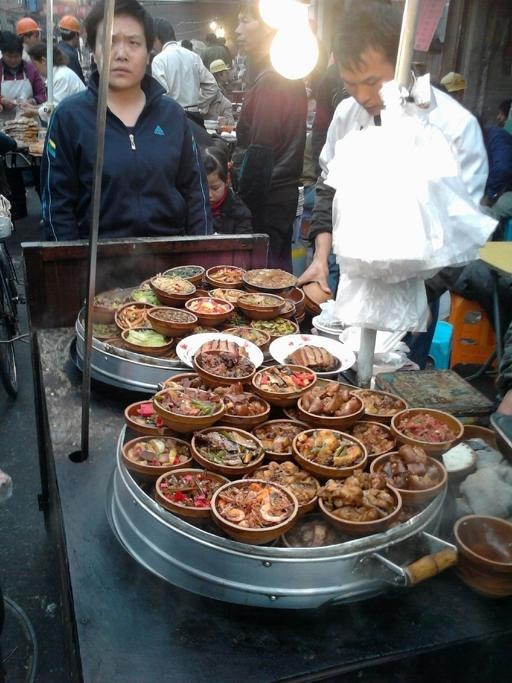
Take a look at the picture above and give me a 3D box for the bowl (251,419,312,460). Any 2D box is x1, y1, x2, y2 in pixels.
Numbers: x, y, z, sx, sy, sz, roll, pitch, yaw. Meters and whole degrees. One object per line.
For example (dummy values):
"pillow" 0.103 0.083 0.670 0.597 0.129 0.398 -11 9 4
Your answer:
"bowl" 0.052 0.239 1.333 0.104 0.033 0.096 0 16 0

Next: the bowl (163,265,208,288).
"bowl" -0.293 -0.288 2.268 0.130 0.043 0.119 2 18 -1

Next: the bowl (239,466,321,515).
"bowl" 0.021 0.331 1.161 0.182 0.059 0.165 1 17 -5

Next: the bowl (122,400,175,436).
"bowl" -0.289 0.206 1.386 0.098 0.031 0.094 6 19 -2

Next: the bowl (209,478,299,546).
"bowl" -0.013 0.342 1.072 0.163 0.065 0.164 6 16 -2

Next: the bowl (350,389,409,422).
"bowl" 0.326 0.173 1.461 0.102 0.033 0.094 5 20 -2

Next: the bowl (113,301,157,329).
"bowl" -0.418 -0.079 1.852 0.117 0.043 0.105 10 36 -1

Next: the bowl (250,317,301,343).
"bowl" 0.068 -0.047 1.982 0.109 0.031 0.101 1 21 0

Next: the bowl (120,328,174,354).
"bowl" -0.367 0.002 1.762 0.157 0.054 0.133 10 17 10

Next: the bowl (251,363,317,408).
"bowl" 0.067 0.118 1.518 0.143 0.049 0.129 0 22 1

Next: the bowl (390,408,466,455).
"bowl" 0.400 0.211 1.342 0.163 0.052 0.146 -4 35 -9

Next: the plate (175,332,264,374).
"plate" -0.172 0.026 1.748 0.160 0.033 0.162 30 30 36

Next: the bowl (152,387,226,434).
"bowl" -0.180 0.181 1.346 0.180 0.089 0.136 15 19 25

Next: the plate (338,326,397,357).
"plate" 0.366 -0.006 1.827 0.123 0.040 0.122 25 27 39

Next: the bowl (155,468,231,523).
"bowl" -0.148 0.328 1.148 0.106 0.034 0.101 9 20 -3

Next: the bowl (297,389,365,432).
"bowl" 0.185 0.155 1.407 0.139 0.066 0.125 -3 28 2

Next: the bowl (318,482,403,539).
"bowl" 0.206 0.345 1.082 0.158 0.076 0.111 5 17 -7

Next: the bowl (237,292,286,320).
"bowl" 0.006 -0.132 2.065 0.178 0.085 0.157 7 17 0

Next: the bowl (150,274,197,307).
"bowl" -0.315 -0.207 2.044 0.145 0.067 0.135 16 26 -8

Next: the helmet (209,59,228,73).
"helmet" -0.734 -5.030 9.834 0.286 0.115 0.328 -26 30 -26

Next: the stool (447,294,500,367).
"stool" 1.413 -0.070 3.546 0.394 0.484 0.360 4 60 13

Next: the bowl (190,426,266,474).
"bowl" -0.073 0.260 1.262 0.174 0.053 0.150 14 18 25

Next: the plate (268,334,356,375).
"plate" 0.156 0.040 1.781 0.185 0.036 0.163 -4 33 -19

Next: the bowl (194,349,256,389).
"bowl" -0.099 0.074 1.510 0.128 0.053 0.117 9 21 -4

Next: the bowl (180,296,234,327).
"bowl" -0.167 -0.120 1.969 0.137 0.054 0.128 5 22 -2
